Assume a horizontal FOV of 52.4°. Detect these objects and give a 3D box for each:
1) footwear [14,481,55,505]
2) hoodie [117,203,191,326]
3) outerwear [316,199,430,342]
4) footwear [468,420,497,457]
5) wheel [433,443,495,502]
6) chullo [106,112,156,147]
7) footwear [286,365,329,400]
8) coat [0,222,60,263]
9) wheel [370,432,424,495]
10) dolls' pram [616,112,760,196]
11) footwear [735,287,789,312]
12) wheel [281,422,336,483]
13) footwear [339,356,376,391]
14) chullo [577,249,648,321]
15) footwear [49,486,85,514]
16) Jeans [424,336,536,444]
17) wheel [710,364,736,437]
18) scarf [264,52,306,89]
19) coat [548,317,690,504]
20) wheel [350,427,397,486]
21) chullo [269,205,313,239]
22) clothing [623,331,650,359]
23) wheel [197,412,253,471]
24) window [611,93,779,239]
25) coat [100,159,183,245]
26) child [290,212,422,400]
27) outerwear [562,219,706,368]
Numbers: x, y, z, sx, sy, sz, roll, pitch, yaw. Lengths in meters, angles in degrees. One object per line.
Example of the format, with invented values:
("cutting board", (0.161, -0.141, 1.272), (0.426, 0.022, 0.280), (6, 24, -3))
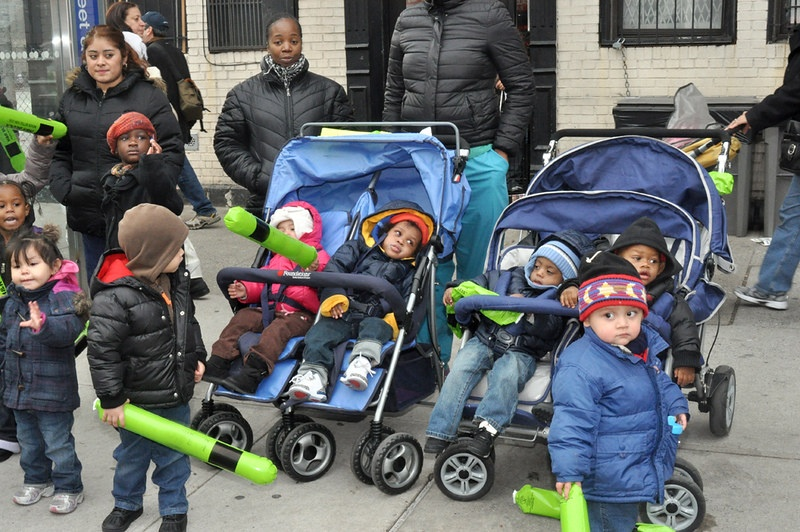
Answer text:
("footwear", (-2.233, 1.386, 5.023), (0.103, 0.118, 0.264), (13, 7, 39))
("hoodie", (-1.287, -0.054, 4.286), (0.492, 0.649, 0.415), (-7, 15, -12))
("outerwear", (-0.191, 0.107, 5.322), (0.544, 1.045, 0.362), (12, -25, 27))
("footwear", (0.492, 1.010, 4.790), (0.164, 0.233, 0.170), (1, 10, 1))
("wheel", (0.383, 1.213, 4.845), (0.288, 0.287, 0.104), (-38, 14, 17))
("chullo", (-1.801, -0.936, 5.433), (0.245, 0.135, 0.267), (-8, -12, -26))
("footwear", (-0.567, 0.711, 5.011), (0.140, 0.129, 0.301), (35, -13, -17))
("coat", (-2.197, -0.157, 4.981), (0.281, 0.151, 0.351), (-11, -1, -5))
("wheel", (-0.032, 1.204, 4.961), (0.098, 0.316, 0.337), (6, 20, 44))
("dolls' pram", (3.201, -1.350, 9.232), (1.679, 1.137, 1.115), (-1, 19, 3))
("footwear", (3.214, 0.288, 7.346), (0.501, 0.190, 0.180), (20, 8, 27))
("wheel", (-0.582, 1.160, 5.074), (0.314, 0.294, 0.115), (25, -5, -32))
("footwear", (-0.244, 0.646, 4.991), (0.143, 0.212, 0.247), (6, 11, 27))
("chullo", (1.117, 0.090, 4.350), (0.337, 0.355, 0.399), (0, -4, -17))
("footwear", (-2.005, 1.414, 4.901), (0.096, 0.088, 0.201), (1, -9, 2))
("Jeans", (0.484, 0.720, 4.881), (0.409, 0.714, 0.210), (19, -28, 26))
("wheel", (2.103, 0.888, 5.335), (0.131, 0.453, 0.486), (2, 2, 25))
("scarf", (-0.897, -1.501, 6.285), (0.368, 0.259, 0.177), (1, 10, 2))
("coat", (1.105, 0.785, 4.336), (0.704, 0.861, 0.395), (-1, 11, -13))
("wheel", (-0.153, 1.164, 4.949), (0.340, 0.316, 0.124), (18, -2, -6))
("chullo", (-0.747, -0.307, 5.619), (0.212, 0.168, 0.272), (5, 1, 17))
("clothing", (1.321, 0.434, 4.504), (0.074, 0.115, 0.158), (18, 17, -16))
("wheel", (-1.042, 1.034, 4.840), (0.340, 0.316, 0.139), (15, 7, -30))
("window", (3.554, -1.393, 10.119), (2.314, 2.085, 1.328), (3, 12, 26))
("coat", (-1.631, -0.412, 5.128), (0.664, 0.595, 0.357), (-1, -3, 15))
("child", (-0.252, 0.175, 5.343), (0.559, 0.789, 1.498), (9, 32, 15))
("outerwear", (1.454, 0.117, 4.740), (0.742, 0.913, 0.337), (0, -21, 37))
